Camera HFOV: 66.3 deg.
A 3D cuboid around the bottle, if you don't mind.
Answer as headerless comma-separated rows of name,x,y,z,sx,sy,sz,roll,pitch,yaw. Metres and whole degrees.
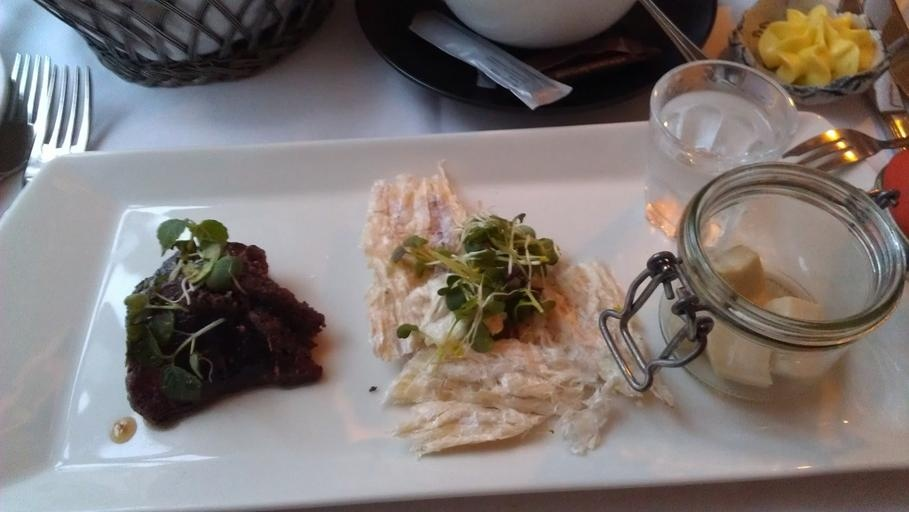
bottle,0.466,0.074,1.181,0.495,0.232,0.331,-24,69,2
